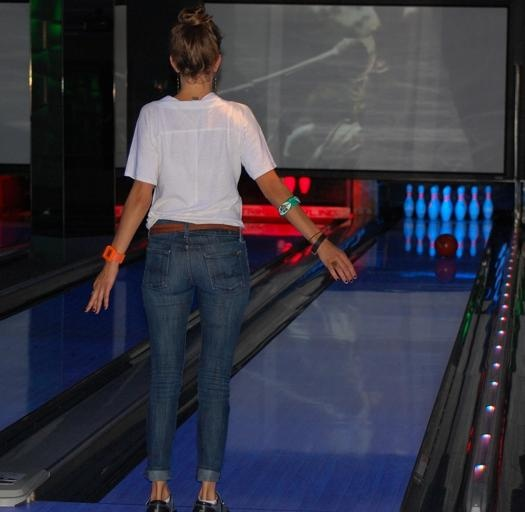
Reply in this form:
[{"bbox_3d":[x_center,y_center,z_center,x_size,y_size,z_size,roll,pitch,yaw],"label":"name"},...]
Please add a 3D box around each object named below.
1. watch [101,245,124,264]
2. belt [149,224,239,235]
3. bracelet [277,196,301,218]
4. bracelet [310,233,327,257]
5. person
[{"bbox_3d":[-0.310,-0.003,1.024,0.046,0.036,0.051,22,0,-12],"label":"watch"},{"bbox_3d":[-0.135,-0.055,0.971,0.177,0.025,0.054,-2,7,-8],"label":"belt"},{"bbox_3d":[0.056,-0.114,1.036,0.043,0.023,0.037,-47,6,-29],"label":"bracelet"},{"bbox_3d":[0.115,-0.027,1.049,0.027,0.046,0.040,32,0,9],"label":"bracelet"},{"bbox_3d":[-0.105,0.004,1.017,0.494,1.009,0.234,-4,7,-26],"label":"person"}]
